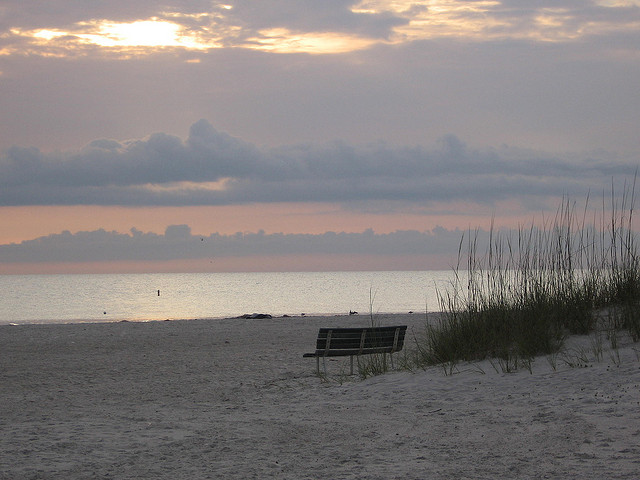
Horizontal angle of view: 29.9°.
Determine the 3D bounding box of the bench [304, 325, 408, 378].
[{"bbox_3d":[0.525,1.881,19.847,1.785,0.767,0.694,2,-7,-38],"label":"bench"}]
